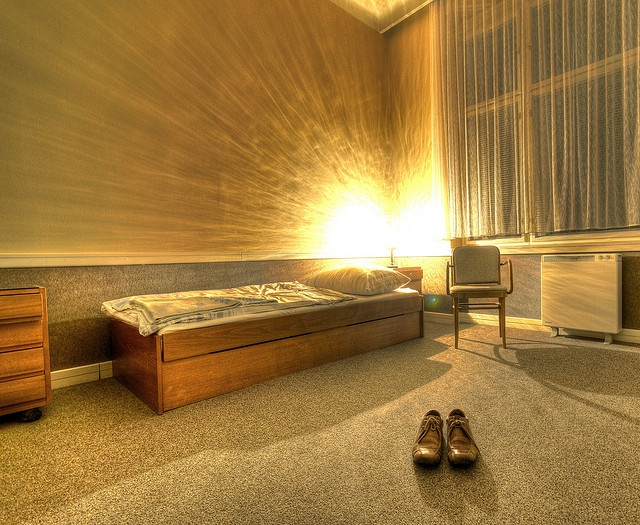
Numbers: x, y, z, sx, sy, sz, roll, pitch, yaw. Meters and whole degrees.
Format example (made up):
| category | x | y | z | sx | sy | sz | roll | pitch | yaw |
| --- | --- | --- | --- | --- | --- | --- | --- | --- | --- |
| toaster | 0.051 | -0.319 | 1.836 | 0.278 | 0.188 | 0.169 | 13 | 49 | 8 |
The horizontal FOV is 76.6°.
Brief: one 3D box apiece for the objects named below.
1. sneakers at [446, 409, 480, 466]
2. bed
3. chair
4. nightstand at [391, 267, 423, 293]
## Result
| category | x | y | z | sx | sy | sz | roll | pitch | yaw |
| --- | --- | --- | --- | --- | --- | --- | --- | --- | --- |
| sneakers | 0.646 | 0.772 | 1.850 | 0.136 | 0.127 | 0.377 | -3 | 4 | 15 |
| bed | -0.269 | 0.406 | 3.162 | 2.356 | 0.691 | 0.956 | -10 | 13 | -38 |
| chair | 1.382 | 0.258 | 3.576 | 0.539 | 0.826 | 1.020 | 3 | 12 | 23 |
| nightstand | 0.945 | 0.159 | 4.352 | 0.237 | 0.374 | 0.417 | -5 | -4 | 39 |
